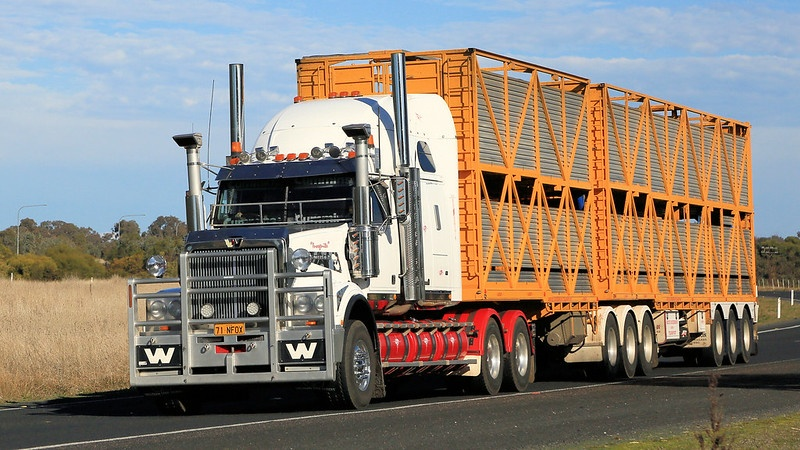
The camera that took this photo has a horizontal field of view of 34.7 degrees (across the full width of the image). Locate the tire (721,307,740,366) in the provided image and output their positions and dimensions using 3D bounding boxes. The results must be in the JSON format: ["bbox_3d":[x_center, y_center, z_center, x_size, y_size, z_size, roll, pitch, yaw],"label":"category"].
[{"bbox_3d":[12.599,4.330,49.364,0.550,2.007,2.261,-3,0,22],"label":"tire"}]

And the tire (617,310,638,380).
[{"bbox_3d":[7.762,4.125,43.344,0.452,1.665,1.871,-10,-22,29],"label":"tire"}]

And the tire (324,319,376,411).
[{"bbox_3d":[-1.433,3.834,34.790,1.016,2.389,2.679,-5,2,14],"label":"tire"}]

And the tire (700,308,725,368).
[{"bbox_3d":[11.656,4.316,47.924,0.716,2.068,2.009,0,-12,25],"label":"tire"}]

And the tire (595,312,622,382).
[{"bbox_3d":[6.997,4.162,42.487,0.464,1.655,1.886,-7,-1,26],"label":"tire"}]
